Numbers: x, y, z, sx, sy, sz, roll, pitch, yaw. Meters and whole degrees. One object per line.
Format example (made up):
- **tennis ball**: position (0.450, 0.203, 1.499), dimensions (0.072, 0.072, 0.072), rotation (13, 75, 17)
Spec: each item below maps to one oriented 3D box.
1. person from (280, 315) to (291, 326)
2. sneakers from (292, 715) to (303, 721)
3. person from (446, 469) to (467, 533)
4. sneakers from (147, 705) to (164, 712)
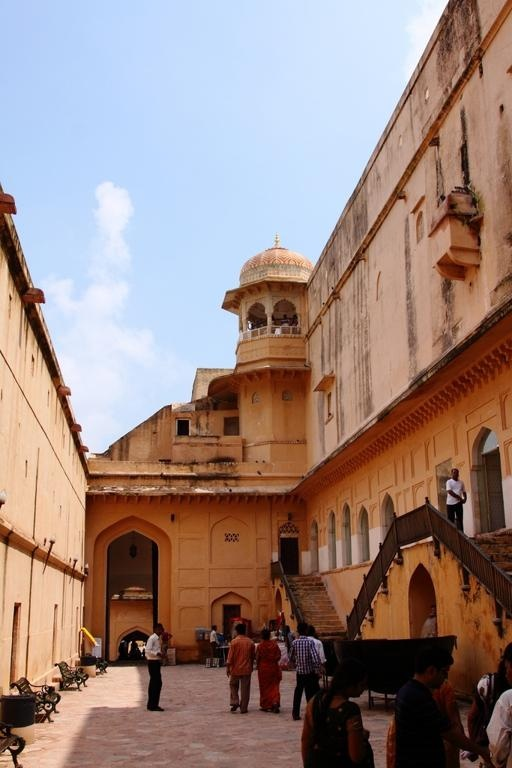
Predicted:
- **person**: position (1.341, -2.942, 32.169), dimensions (0.394, 0.896, 0.288), rotation (-4, -38, 14)
- **sneakers**: position (0.582, 4.778, 10.005), dimensions (0.098, 0.055, 0.142), rotation (2, -13, -4)
- **person**: position (3.465, 2.019, 12.143), dimensions (0.325, 1.120, 1.118), rotation (-5, -19, 14)
- **sneakers**: position (-1.715, 5.514, 11.892), dimensions (0.304, 0.140, 0.111), rotation (0, -5, 0)
